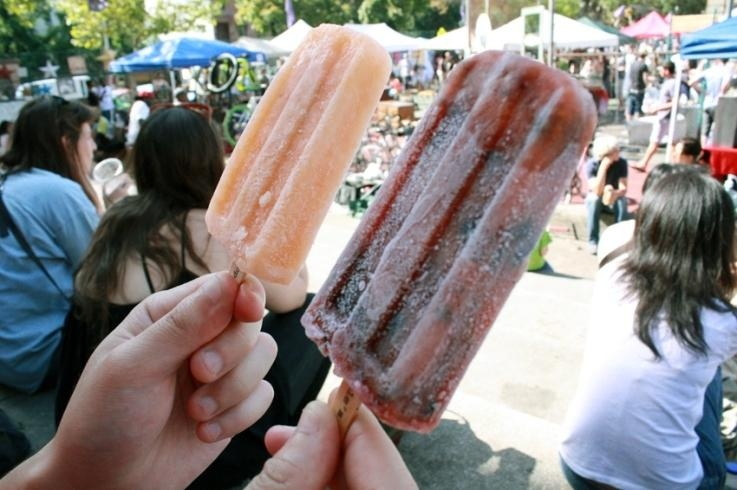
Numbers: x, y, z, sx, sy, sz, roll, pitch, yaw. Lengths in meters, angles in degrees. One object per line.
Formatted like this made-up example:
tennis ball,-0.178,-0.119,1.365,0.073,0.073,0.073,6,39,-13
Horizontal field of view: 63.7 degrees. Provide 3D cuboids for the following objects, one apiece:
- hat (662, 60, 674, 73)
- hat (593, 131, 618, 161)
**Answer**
hat,4.877,-2.858,9.642,0.138,0.210,0.146,24,11,21
hat,3.098,-1.309,7.817,0.254,0.372,0.345,-3,2,8
